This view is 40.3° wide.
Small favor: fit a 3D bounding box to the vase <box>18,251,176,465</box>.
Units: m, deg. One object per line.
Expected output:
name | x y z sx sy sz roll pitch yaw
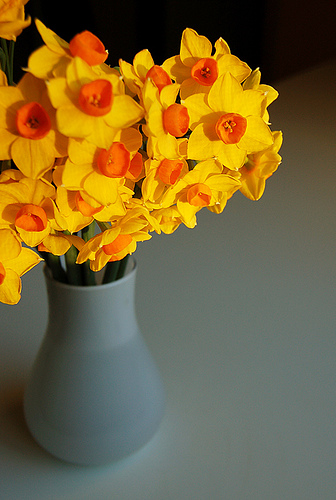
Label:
vase | -0.086 0.117 0.547 0.184 0.204 0.186 3 19 2
